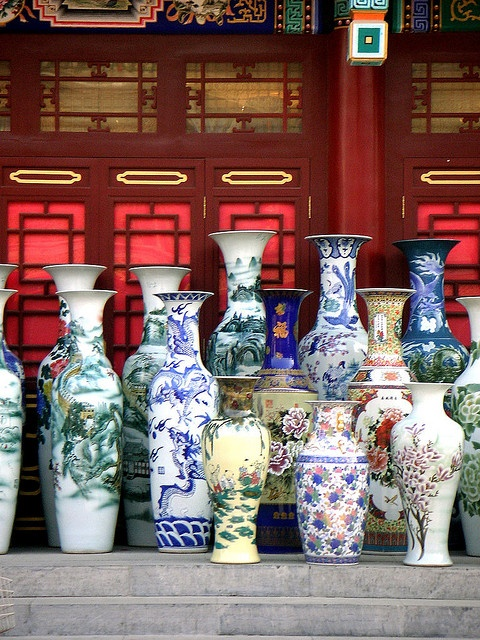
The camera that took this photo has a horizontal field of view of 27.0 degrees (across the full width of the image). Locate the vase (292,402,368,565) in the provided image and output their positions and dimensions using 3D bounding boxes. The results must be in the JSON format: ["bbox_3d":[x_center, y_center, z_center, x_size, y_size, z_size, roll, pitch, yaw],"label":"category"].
[{"bbox_3d":[0.323,0.569,3.555,0.259,0.566,0.212,-1,7,2],"label":"vase"}]

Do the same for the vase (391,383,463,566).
[{"bbox_3d":[0.661,0.539,3.554,0.261,0.633,0.232,0,7,10],"label":"vase"}]

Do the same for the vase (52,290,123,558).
[{"bbox_3d":[-0.590,0.389,3.858,0.276,1.007,0.248,-3,7,-8],"label":"vase"}]

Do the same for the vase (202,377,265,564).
[{"bbox_3d":[-0.007,0.524,3.577,0.245,0.656,0.251,-3,7,-12],"label":"vase"}]
